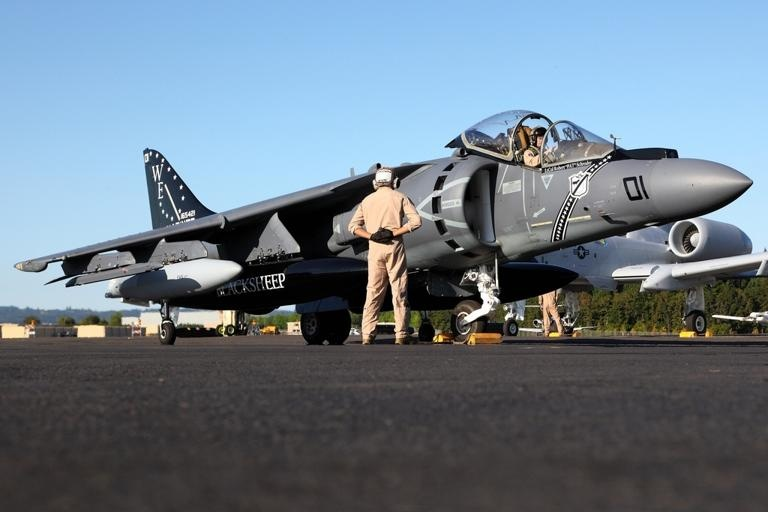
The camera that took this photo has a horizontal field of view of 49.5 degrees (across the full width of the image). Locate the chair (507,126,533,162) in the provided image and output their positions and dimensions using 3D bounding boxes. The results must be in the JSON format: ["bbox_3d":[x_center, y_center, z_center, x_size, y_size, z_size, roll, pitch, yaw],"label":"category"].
[{"bbox_3d":[1.852,-1.527,11.339,0.384,0.447,0.485,4,1,-3],"label":"chair"}]

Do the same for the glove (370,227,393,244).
[{"bbox_3d":[-0.032,-0.190,8.397,0.198,0.134,0.056,4,17,2],"label":"glove"}]

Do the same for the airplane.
[{"bbox_3d":[-0.132,-0.338,12.657,7.482,2.375,6.538,-7,0,23],"label":"airplane"}]

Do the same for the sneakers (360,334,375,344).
[{"bbox_3d":[-0.154,0.895,8.969,0.102,0.120,0.140,-4,-4,40],"label":"sneakers"}]

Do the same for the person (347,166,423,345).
[{"bbox_3d":[0.018,-0.036,8.707,0.695,1.875,0.911,1,-6,-22],"label":"person"}]

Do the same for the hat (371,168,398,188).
[{"bbox_3d":[0.008,-0.834,8.853,0.279,0.223,0.257,1,14,5],"label":"hat"}]
